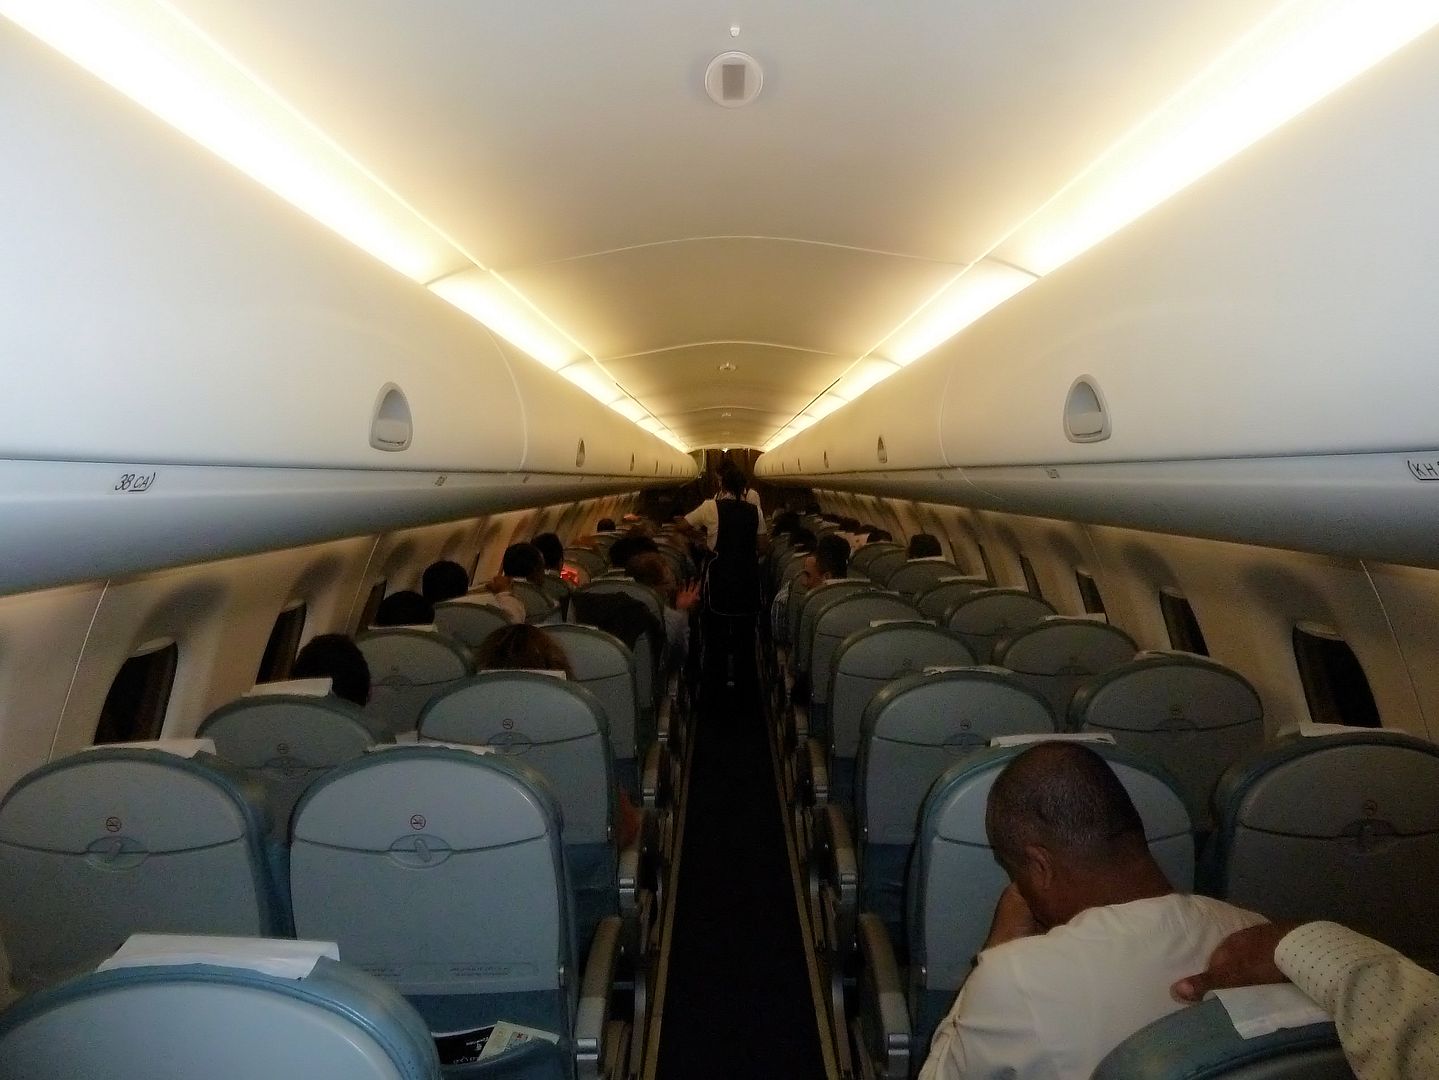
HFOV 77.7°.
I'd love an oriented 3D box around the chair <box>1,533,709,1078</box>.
[{"bbox_3d":[-1.243,0.830,3.772,1.353,2.164,2.033,0,3,-3],"label":"chair"}]
